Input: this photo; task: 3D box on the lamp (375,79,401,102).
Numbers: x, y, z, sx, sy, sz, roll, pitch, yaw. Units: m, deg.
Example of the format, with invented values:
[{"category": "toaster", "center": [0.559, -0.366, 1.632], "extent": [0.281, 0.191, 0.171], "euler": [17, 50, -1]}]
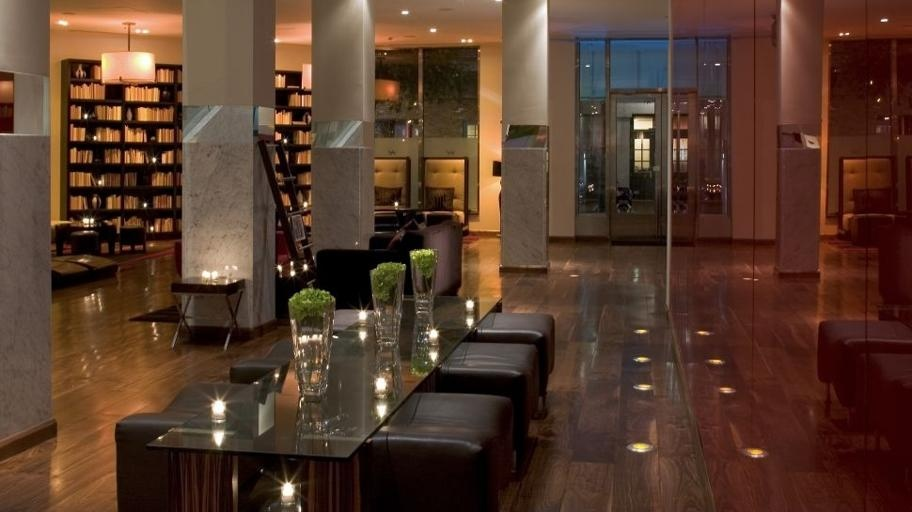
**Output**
[{"category": "lamp", "center": [-1.540, -3.642, 16.252], "extent": [0.498, 0.504, 0.310], "euler": [2, 7, 5]}]

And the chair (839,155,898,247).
[{"category": "chair", "center": [1.122, -0.159, 2.006], "extent": [0.113, 0.201, 0.129], "euler": [4, -8, 25]}]

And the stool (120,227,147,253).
[{"category": "stool", "center": [-5.718, -0.287, 12.980], "extent": [0.433, 0.417, 0.438], "euler": [-1, 7, -7]}]

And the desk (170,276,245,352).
[{"category": "desk", "center": [-2.415, 0.555, 7.133], "extent": [0.580, 0.569, 0.480], "euler": [1, -1, 2]}]

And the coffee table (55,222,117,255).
[{"category": "coffee table", "center": [-6.311, -0.320, 12.341], "extent": [0.787, 0.439, 0.763], "euler": [1, 5, 11]}]

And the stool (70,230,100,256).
[{"category": "stool", "center": [-6.067, -0.210, 11.997], "extent": [0.417, 0.359, 0.409], "euler": [-1, 1, -41]}]

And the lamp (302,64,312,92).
[{"category": "lamp", "center": [-3.043, -3.637, 14.873], "extent": [0.142, 0.466, 1.069], "euler": [-2, 9, -15]}]
